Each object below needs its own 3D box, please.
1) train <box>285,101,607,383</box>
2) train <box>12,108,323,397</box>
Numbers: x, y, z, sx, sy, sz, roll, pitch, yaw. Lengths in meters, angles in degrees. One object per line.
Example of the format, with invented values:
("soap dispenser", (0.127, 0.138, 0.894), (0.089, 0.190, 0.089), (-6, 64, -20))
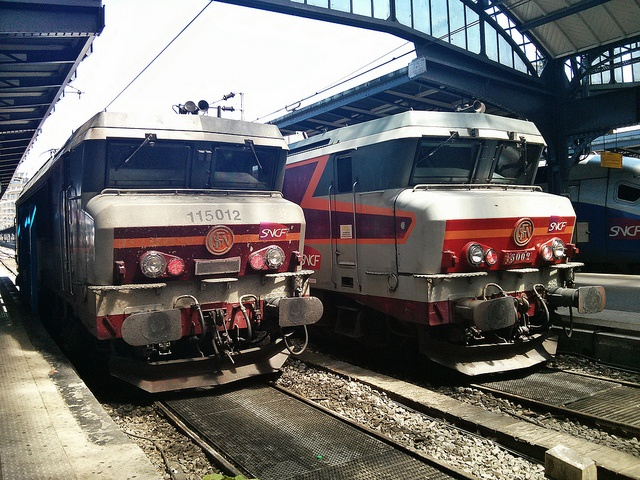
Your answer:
("train", (2.118, -0.008, 9.526), (5.382, 4.735, 2.780), (3, 8, 29))
("train", (-4.692, 0.057, 11.654), (3.599, 4.489, 10.591), (-3, 3, -39))
